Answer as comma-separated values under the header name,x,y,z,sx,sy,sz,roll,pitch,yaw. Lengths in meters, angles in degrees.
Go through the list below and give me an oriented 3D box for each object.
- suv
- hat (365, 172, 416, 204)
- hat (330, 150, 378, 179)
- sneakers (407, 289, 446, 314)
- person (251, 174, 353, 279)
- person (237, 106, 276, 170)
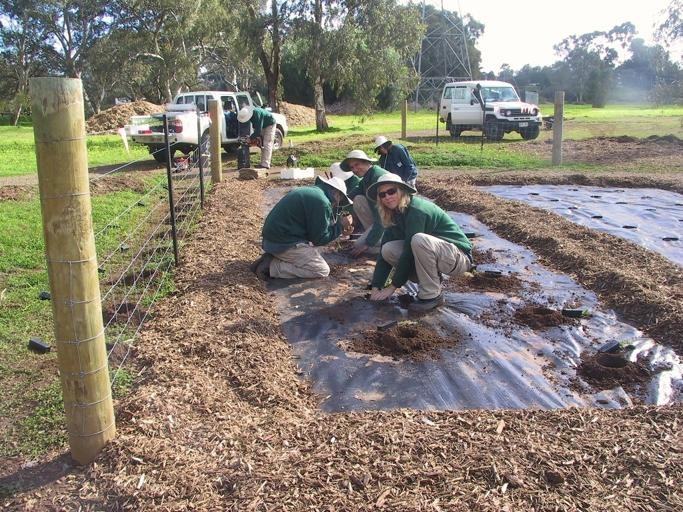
name,x,y,z,sx,sy,sz,roll,pitch,yaw
suv,5.449,-5.552,21.765,2.157,2.013,3.977,-11,23,-21
hat,0.535,-0.777,6.491,0.540,0.174,0.588,-12,-23,19
hat,0.112,-1.279,7.982,0.458,0.457,0.957,-5,15,-18
sneakers,0.890,0.532,6.115,0.426,0.212,0.161,-19,29,-12
person,-0.409,-0.369,7.059,0.866,1.249,1.238,12,19,41
person,-2.349,-3.351,15.715,0.920,1.642,3.608,-3,14,-10
